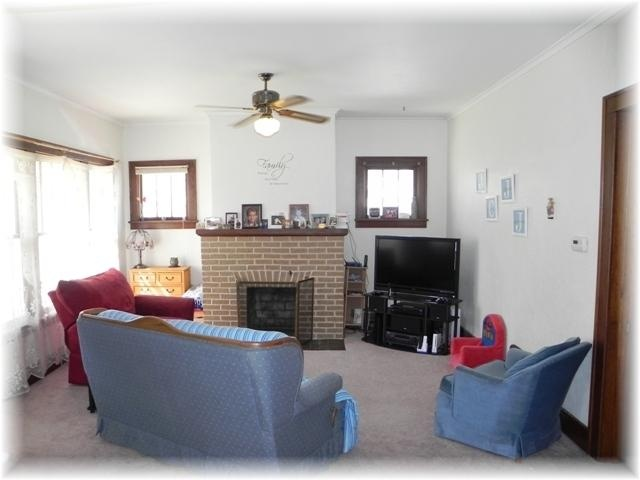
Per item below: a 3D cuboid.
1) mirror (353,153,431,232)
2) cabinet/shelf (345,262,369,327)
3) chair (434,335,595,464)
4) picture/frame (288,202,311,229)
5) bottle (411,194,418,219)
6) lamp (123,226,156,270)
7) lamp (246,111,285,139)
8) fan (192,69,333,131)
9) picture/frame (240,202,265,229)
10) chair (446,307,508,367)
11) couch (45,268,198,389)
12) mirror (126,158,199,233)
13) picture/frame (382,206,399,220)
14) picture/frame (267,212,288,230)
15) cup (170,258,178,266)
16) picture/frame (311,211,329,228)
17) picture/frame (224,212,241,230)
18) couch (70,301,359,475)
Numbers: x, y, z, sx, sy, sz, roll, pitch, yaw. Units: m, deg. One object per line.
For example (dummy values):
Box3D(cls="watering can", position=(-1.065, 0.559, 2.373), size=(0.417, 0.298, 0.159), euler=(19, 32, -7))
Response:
Box3D(cls="mirror", position=(0.996, -0.686, 6.603), size=(1.049, 1.014, 0.120), euler=(0, -1, 1))
Box3D(cls="cabinet/shelf", position=(0.459, 0.791, 6.340), size=(0.293, 0.824, 0.215), euler=(3, 2, 1))
Box3D(cls="chair", position=(1.549, 1.201, 3.847), size=(0.881, 0.883, 0.961), euler=(-9, 7, -27))
Box3D(cls="picture/frame", position=(-0.273, -0.304, 6.057), size=(0.334, 0.441, 0.042), euler=(-2, -7, 0))
Box3D(cls="bottle", position=(1.312, -0.469, 6.622), size=(0.103, 0.325, 0.131), euler=(2, 10, 12))
Box3D(cls="lamp", position=(-2.589, 0.135, 6.813), size=(0.390, 0.584, 0.387), euler=(2, 5, 15))
Box3D(cls="lamp", position=(-0.517, -1.076, 4.416), size=(0.196, 0.180, 0.251), euler=(-6, 11, -29))
Box3D(cls="fan", position=(-0.493, -1.372, 4.853), size=(0.875, 0.616, 1.748), euler=(-3, 10, -13))
Box3D(cls="picture/frame", position=(-0.892, -0.310, 6.093), size=(0.343, 0.416, 0.030), euler=(0, -1, -3))
Box3D(cls="chair", position=(1.636, 1.086, 4.949), size=(0.517, 0.608, 0.464), euler=(-1, 2, -7))
Box3D(cls="couch", position=(-2.011, 0.867, 4.963), size=(1.219, 0.959, 1.188), euler=(6, 10, 23))
Box3D(cls="mirror", position=(-2.242, -0.659, 6.745), size=(1.049, 1.091, 0.113), euler=(0, 4, -1))
Box3D(cls="picture/frame", position=(0.982, -0.388, 6.648), size=(0.283, 0.214, 0.154), euler=(0, -1, 3))
Box3D(cls="picture/frame", position=(-0.535, -0.235, 6.024), size=(0.243, 0.168, 0.271), euler=(-2, 10, -12))
Box3D(cls="cup", position=(-2.062, 0.310, 6.671), size=(0.114, 0.113, 0.103), euler=(0, -1, -8))
Box3D(cls="picture/frame", position=(-0.008, -0.264, 6.063), size=(0.295, 0.306, 0.152), euler=(0, -3, -1))
Box3D(cls="picture/frame", position=(-1.125, -0.246, 6.086), size=(0.229, 0.327, 0.023), euler=(-1, -3, -4))
Box3D(cls="couch", position=(-0.934, 1.099, 3.866), size=(2.025, 1.132, 1.197), euler=(4, 5, 24))
